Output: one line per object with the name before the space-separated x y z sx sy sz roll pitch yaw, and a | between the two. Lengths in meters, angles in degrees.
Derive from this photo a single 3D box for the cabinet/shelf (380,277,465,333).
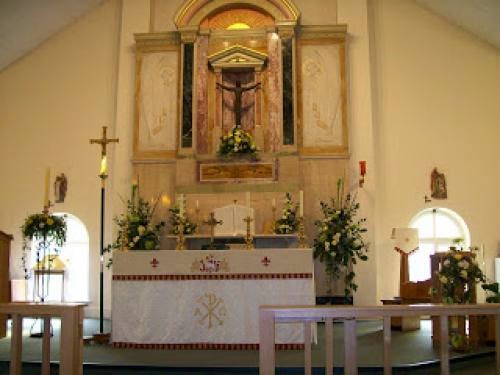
cabinet/shelf | 3.079 2.195 12.244 1.060 0.865 0.616 4 -9 -30

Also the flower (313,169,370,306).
flower | 1.755 0.951 12.379 1.070 2.537 1.351 -3 -9 10

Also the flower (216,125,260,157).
flower | -0.283 -0.875 12.926 0.625 0.494 0.671 -1 -1 44

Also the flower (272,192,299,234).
flower | 0.679 0.474 12.179 0.470 0.853 0.604 -2 -9 4

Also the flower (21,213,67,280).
flower | -3.377 0.753 10.259 0.528 0.792 0.566 13 9 29

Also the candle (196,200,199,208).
candle | -0.955 0.293 11.406 0.028 0.135 0.228 1 -9 -15

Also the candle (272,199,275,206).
candle | 0.388 0.247 10.820 0.015 0.126 0.075 0 -9 -10

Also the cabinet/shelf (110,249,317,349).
cabinet/shelf | -0.638 1.615 10.835 3.114 1.565 1.885 0 9 0
